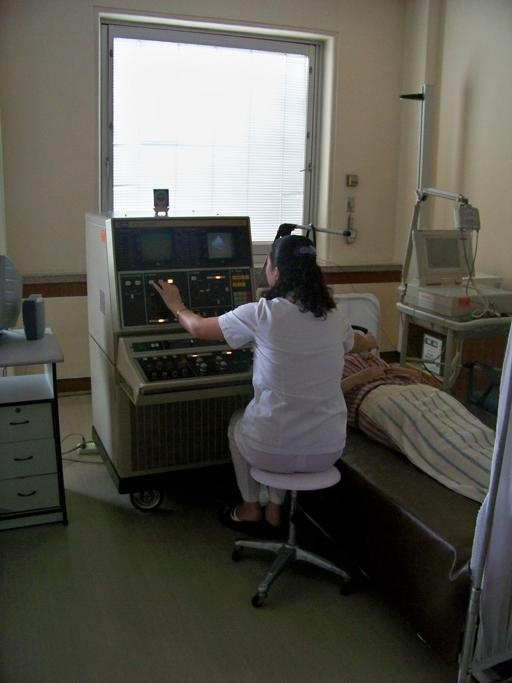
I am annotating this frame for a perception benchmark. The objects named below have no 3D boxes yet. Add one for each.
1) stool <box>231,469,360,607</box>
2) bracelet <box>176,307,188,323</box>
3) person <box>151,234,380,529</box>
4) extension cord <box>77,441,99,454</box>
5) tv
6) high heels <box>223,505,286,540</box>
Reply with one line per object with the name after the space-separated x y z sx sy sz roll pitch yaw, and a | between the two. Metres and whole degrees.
0.121 0.610 1.874 0.423 0.357 0.427 4 4 17 | stool
-0.270 -0.098 1.997 0.042 0.047 0.035 7 14 6 | bracelet
0.051 0.196 1.872 0.351 1.099 0.539 -6 13 -40 | person
-0.889 0.545 2.891 0.095 0.047 0.182 -2 11 -19 | extension cord
1.096 -0.487 3.186 0.367 0.315 0.178 -1 10 -18 | tv
-0.004 0.674 2.114 0.230 0.067 0.107 14 17 29 | high heels
